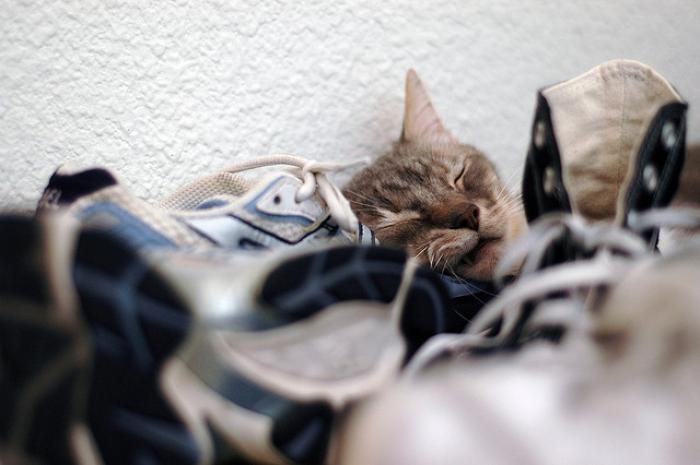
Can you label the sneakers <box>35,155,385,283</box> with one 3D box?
[{"bbox_3d":[-0.127,-0.019,0.734,0.318,0.132,0.128,2,89,-40],"label":"sneakers"}]
